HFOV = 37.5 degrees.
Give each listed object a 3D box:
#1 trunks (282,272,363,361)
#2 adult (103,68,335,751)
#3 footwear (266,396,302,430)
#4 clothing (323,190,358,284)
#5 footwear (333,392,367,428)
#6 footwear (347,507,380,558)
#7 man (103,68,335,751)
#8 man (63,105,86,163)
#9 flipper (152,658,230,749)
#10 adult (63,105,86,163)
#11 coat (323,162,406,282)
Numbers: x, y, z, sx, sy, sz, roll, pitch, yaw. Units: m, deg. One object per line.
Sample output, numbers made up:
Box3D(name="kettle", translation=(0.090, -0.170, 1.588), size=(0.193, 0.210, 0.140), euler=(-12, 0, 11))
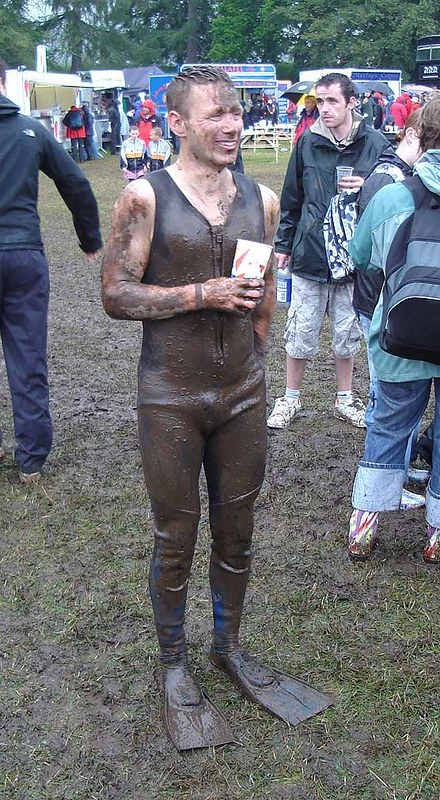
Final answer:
Box3D(name="trunks", translation=(0.683, -0.616, 4.171), size=(0.517, 0.787, 0.245), euler=(0, 38, 8))
Box3D(name="adult", translation=(0.000, 0.090, 1.839), size=(0.614, 1.864, 0.528), euler=(-5, 22, -15))
Box3D(name="footwear", translation=(0.439, 0.095, 4.364), size=(0.123, 0.153, 0.373), euler=(11, 18, 16))
Box3D(name="clothing", translation=(0.700, -0.946, 3.748), size=(0.138, 0.478, 0.356), euler=(-5, 5, -24))
Box3D(name="footwear", translation=(0.872, 0.077, 4.328), size=(0.103, 0.127, 0.306), euler=(-23, 29, -21))
Box3D(name="footwear", translation=(0.641, 0.599, 2.939), size=(0.101, 0.236, 0.244), euler=(12, 8, 18))
Box3D(name="man", translation=(0.000, 0.090, 1.840), size=(0.615, 1.864, 0.528), euler=(-5, 22, -15))
Box3D(name="man", translation=(-4.625, -8.498, 20.663), size=(0.690, 1.708, 0.666), euler=(-12, 29, -24))
Box3D(name="flipper", translation=(-0.092, 0.919, 1.996), size=(0.186, 0.136, 0.342), euler=(4, 14, -23))
Box3D(name="adult", translation=(-4.608, -8.537, 20.689), size=(0.731, 1.758, 0.615), euler=(-20, 35, -34))
Box3D(name="coat", translation=(0.875, -1.052, 3.832), size=(0.365, 0.653, 0.533), euler=(14, 29, 30))
